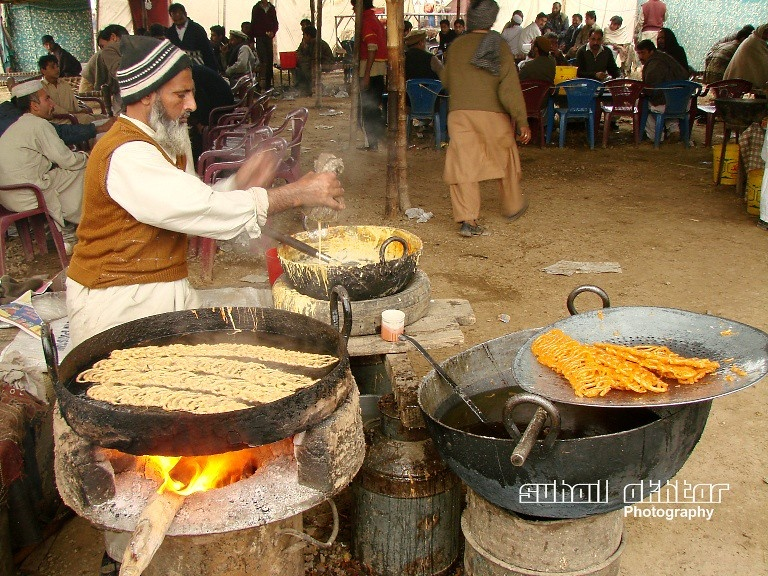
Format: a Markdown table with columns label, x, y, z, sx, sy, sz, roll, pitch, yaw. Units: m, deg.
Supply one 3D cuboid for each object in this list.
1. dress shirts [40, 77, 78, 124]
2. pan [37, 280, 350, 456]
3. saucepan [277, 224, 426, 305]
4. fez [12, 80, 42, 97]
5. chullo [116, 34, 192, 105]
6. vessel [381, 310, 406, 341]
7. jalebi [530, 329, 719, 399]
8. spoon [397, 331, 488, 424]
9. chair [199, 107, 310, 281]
| label | x | y | z | sx | sy | sz | roll | pitch | yaw |
| --- | --- | --- | --- | --- | --- | --- | --- | --- | --- |
| dress shirts | -4.609 | -2.715 | 9.476 | 0.474 | 0.600 | 0.327 | -21 | 13 | -36 |
| pan | -0.734 | 0.334 | 2.700 | 1.083 | 0.368 | 0.894 | -11 | 18 | -27 |
| saucepan | -0.159 | -0.153 | 3.650 | 0.559 | 0.247 | 0.583 | -5 | 17 | -16 |
| fez | -3.508 | -1.950 | 6.608 | 0.224 | 0.099 | 0.223 | -12 | 15 | 18 |
| chullo | -1.070 | -1.014 | 3.131 | 0.334 | 0.273 | 0.251 | -30 | 31 | 3 |
| vessel | 0.043 | 0.188 | 3.533 | 0.145 | 0.152 | 0.146 | 6 | 25 | 7 |
| jalebi | 0.940 | 0.320 | 2.681 | 0.427 | 0.074 | 0.280 | -8 | 18 | 10 |
| spoon | 0.280 | 0.450 | 3.302 | 0.080 | 0.523 | 0.055 | -44 | -6 | 20 |
| chair | -1.398 | -0.796 | 6.349 | 1.112 | 1.362 | 1.100 | -12 | -4 | -11 |
